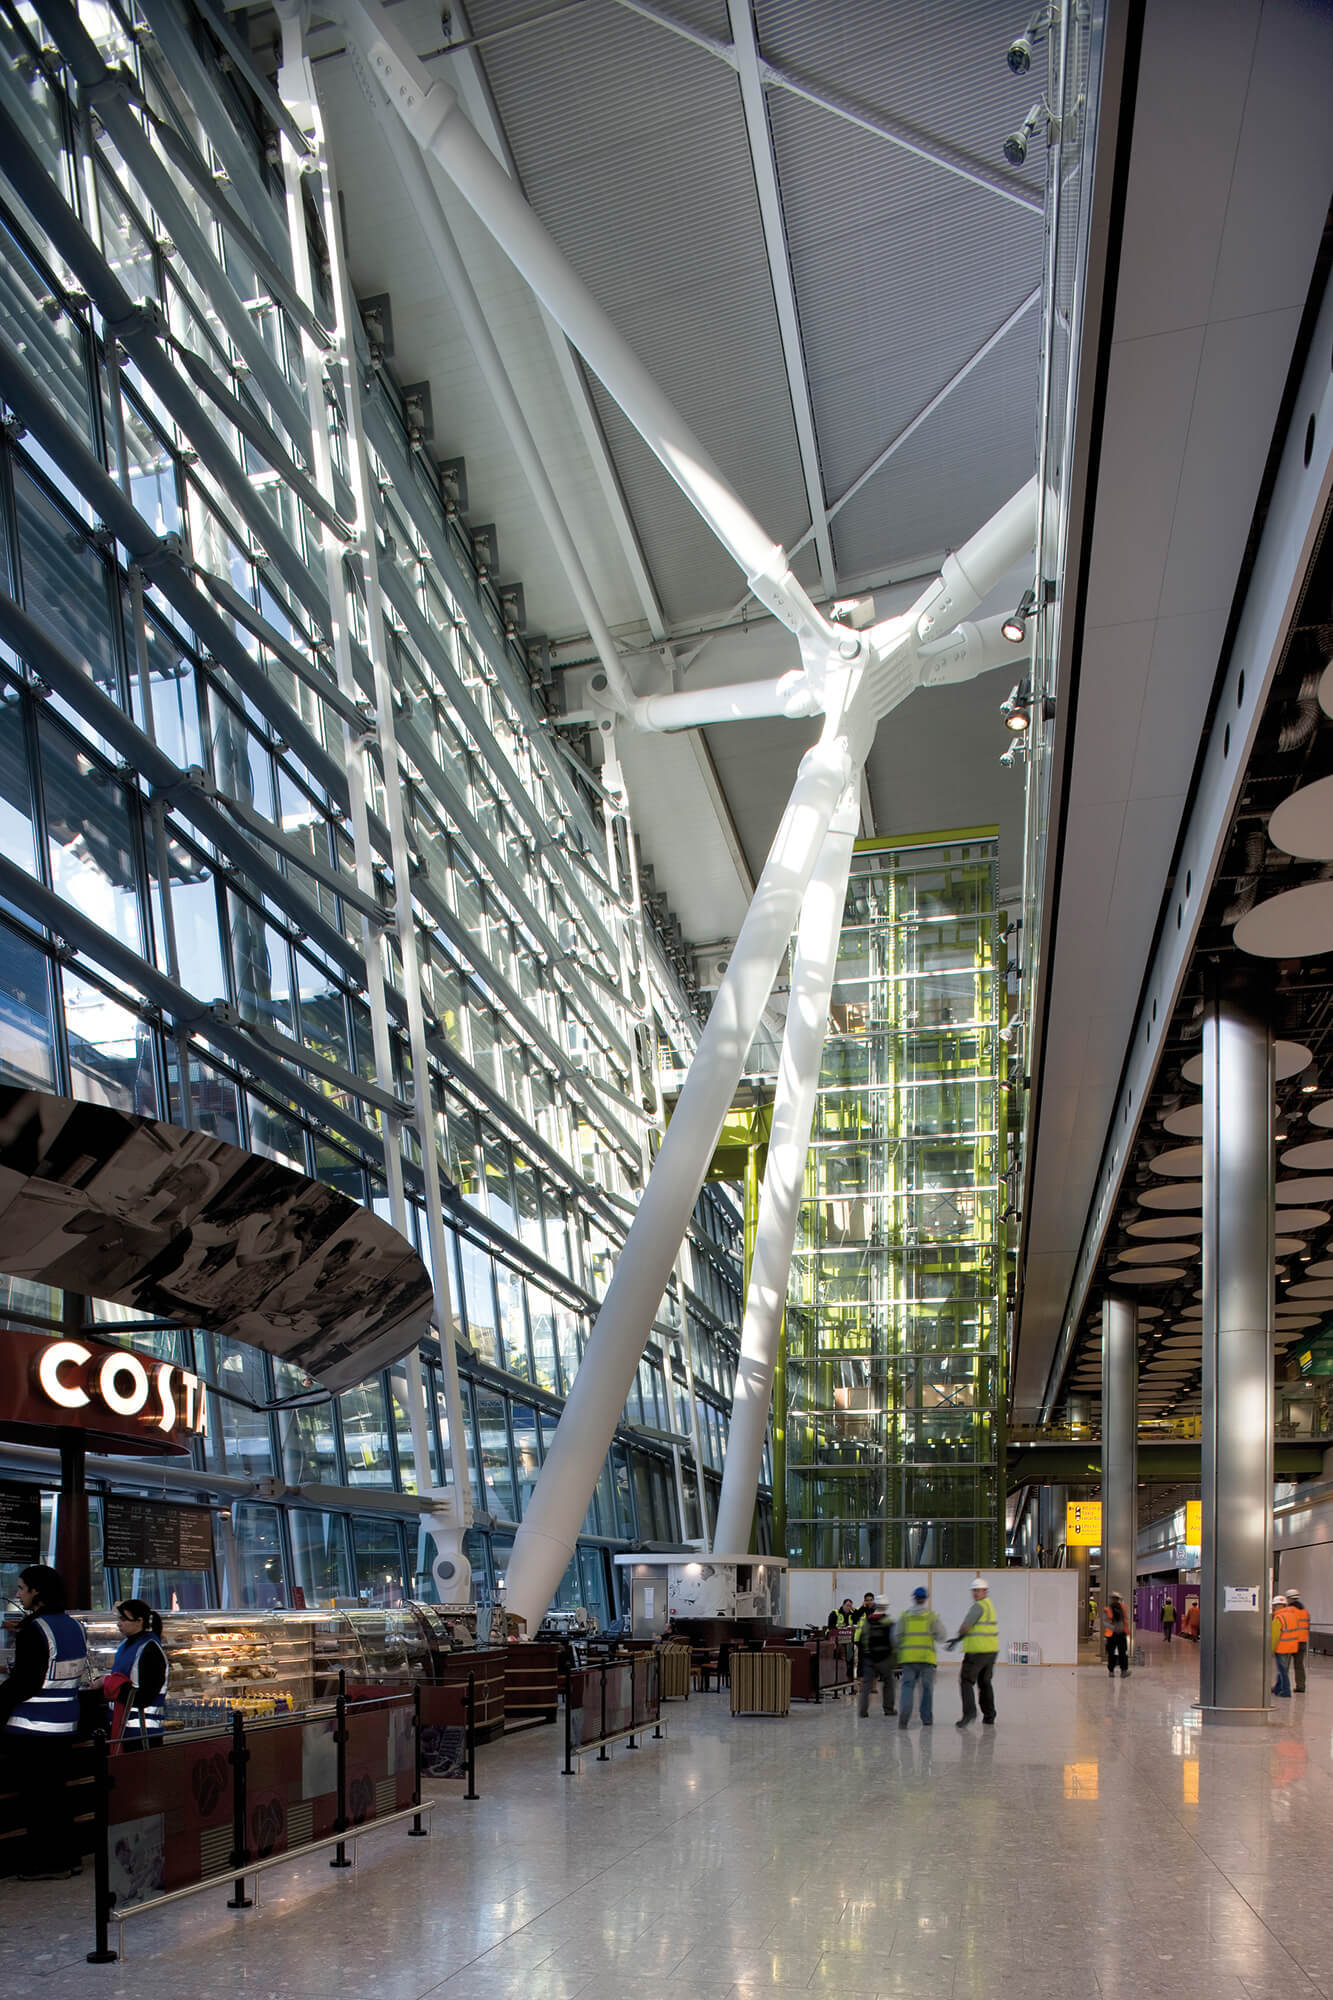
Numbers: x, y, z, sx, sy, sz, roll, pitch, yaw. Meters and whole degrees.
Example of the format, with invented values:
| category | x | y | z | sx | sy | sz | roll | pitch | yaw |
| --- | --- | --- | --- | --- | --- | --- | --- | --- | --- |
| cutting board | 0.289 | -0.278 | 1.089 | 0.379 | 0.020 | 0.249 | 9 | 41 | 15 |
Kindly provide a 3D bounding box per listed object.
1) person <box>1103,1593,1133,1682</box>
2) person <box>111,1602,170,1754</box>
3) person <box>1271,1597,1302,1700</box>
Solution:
| category | x | y | z | sx | sy | sz | roll | pitch | yaw |
| --- | --- | --- | --- | --- | --- | --- | --- | --- | --- |
| person | 8.042 | 11.464 | 27.061 | 0.325 | 0.977 | 1.437 | -3 | -11 | 20 |
| person | -2.350 | 2.937 | 6.762 | 0.223 | 0.451 | 1.648 | 4 | -11 | -18 |
| person | 9.164 | 9.532 | 22.359 | 0.463 | 1.474 | 1.855 | -3 | -11 | 21 |
